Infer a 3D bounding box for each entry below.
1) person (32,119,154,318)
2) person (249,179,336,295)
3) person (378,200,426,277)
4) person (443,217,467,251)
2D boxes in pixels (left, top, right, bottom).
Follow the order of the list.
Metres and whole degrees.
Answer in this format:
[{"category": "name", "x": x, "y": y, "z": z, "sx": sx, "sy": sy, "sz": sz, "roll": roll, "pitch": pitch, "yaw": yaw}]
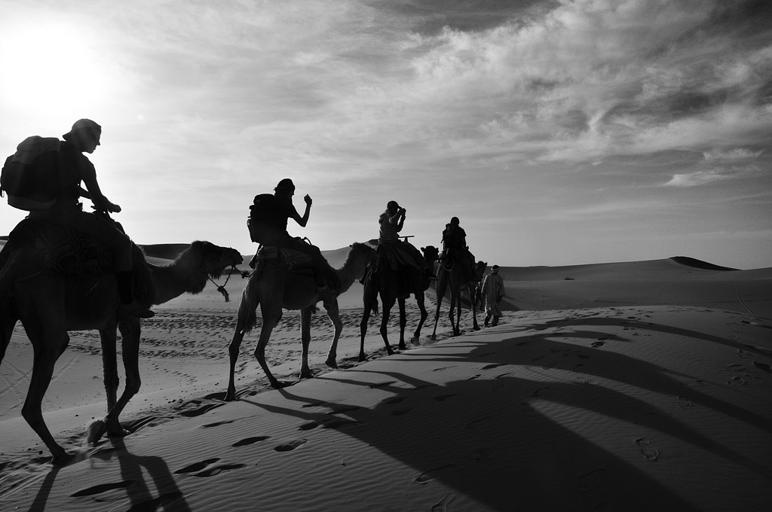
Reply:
[{"category": "person", "x": -3.967, "y": -0.496, "z": 6.147, "sx": 0.998, "sy": 2.416, "sz": 1.510, "roll": 6, "pitch": 3, "yaw": 12}, {"category": "person", "x": -1.794, "y": -0.414, "z": 8.804, "sx": 1.662, "sy": 1.812, "sz": 0.923, "roll": -3, "pitch": 0, "yaw": -27}, {"category": "person", "x": 0.370, "y": -0.485, "z": 11.732, "sx": 1.214, "sy": 1.652, "sz": 0.875, "roll": 3, "pitch": 9, "yaw": 16}, {"category": "person", "x": 1.946, "y": -0.656, "z": 13.741, "sx": 0.596, "sy": 0.936, "sz": 0.478, "roll": -3, "pitch": 11, "yaw": 1}]
